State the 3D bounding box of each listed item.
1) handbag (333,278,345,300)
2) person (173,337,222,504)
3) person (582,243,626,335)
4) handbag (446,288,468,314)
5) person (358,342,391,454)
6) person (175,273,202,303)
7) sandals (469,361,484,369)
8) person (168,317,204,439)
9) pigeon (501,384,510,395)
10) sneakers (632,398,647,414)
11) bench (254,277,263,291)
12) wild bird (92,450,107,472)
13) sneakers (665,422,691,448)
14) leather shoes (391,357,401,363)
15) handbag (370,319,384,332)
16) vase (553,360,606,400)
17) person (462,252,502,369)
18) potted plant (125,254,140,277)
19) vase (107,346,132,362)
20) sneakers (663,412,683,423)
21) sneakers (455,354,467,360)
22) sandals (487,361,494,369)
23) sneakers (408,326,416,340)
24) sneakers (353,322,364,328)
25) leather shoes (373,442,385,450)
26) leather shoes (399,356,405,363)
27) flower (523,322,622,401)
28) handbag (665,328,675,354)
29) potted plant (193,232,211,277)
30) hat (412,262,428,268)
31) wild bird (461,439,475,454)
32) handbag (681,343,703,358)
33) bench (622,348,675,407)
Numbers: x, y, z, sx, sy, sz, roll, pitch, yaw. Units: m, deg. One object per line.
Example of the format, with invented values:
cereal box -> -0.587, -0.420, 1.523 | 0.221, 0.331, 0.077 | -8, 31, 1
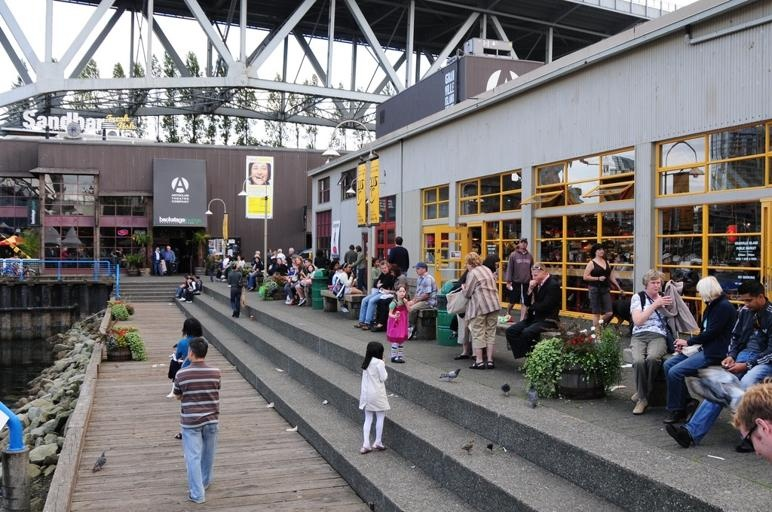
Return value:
handbag -> -1.492, 1.013, 21.667 | 0.190, 0.637, 0.642 | -1, 1, -25
person -> -3.264, 2.845, 11.862 | 0.737, 2.848, 0.509 | -1, 1, -15
person -> 5.130, 0.722, 16.433 | 0.646, 1.973, 1.020 | 0, 1, 33
handbag -> 1.513, 0.969, 14.609 | 0.586, 0.635, 0.345 | 4, 5, 39
person -> -0.228, 2.557, 12.542 | 0.518, 2.060, 0.856 | -1, 1, 0
person -> -9.943, 1.621, 34.574 | 1.189, 1.223, 2.181 | -1, 1, -18
sandals -> 1.870, 2.243, 14.062 | 0.123, 0.115, 0.254 | -2, 4, -45
person -> -4.141, 2.569, 14.387 | 0.661, 2.528, 0.685 | -4, -7, 41
pigeon -> 2.101, 2.365, 12.078 | 0.134, 0.195, 0.267 | -3, -6, 6
sneakers -> 4.318, 2.588, 11.748 | 0.137, 0.189, 0.420 | -6, -6, 32
bench -> -5.834, 1.239, 31.383 | 0.545, 0.666, 0.567 | 2, 4, 3
wild bird -> -5.454, 3.931, 13.052 | 0.125, 0.155, 0.397 | 16, 15, -4
sneakers -> 4.504, 2.736, 10.598 | 0.570, 0.197, 0.220 | 48, -32, -20
leather shoes -> 0.216, 2.218, 14.594 | 0.227, 0.108, 0.080 | -4, -3, 36
handbag -> -0.241, 1.894, 18.522 | 0.183, 0.196, 0.438 | -1, -6, 41
vase -> 3.475, 2.286, 12.587 | 0.600, 0.510, 0.654 | 1, -7, -1
person -> 1.958, 1.137, 14.178 | 0.723, 2.356, 0.429 | 0, 1, 7
potted plant -> -16.241, 0.626, 44.111 | 1.058, 1.389, 1.157 | 1, 3, 16
vase -> -7.971, 2.946, 20.503 | 0.482, 0.394, 0.503 | 1, -4, -6
sneakers -> 4.729, 2.670, 11.366 | 0.380, 0.173, 0.133 | 3, -2, -5
sneakers -> 1.607, 2.194, 14.865 | 0.271, 0.088, 0.099 | 4, -5, -28
sandals -> 2.142, 2.235, 14.121 | 0.122, 0.119, 0.131 | 0, 7, -1
sneakers -> 0.633, 1.940, 17.313 | 0.134, 0.352, 0.122 | 10, -2, -18
sneakers -> -0.790, 1.930, 19.137 | 0.120, 0.162, 0.365 | 1, -8, -13
leather shoes -> -0.130, 3.477, 12.541 | 0.235, 0.108, 0.079 | -1, 2, -29
leather shoes -> 0.327, 2.204, 14.667 | 0.147, 0.156, 0.073 | 0, 1, -10
flower -> 3.380, 1.865, 12.419 | 1.324, 0.987, 1.385 | 1, -5, -6
handbag -> 4.993, 1.495, 12.104 | 0.124, 0.395, 0.269 | -1, -2, 8
potted plant -> -12.376, -0.181, 46.112 | 0.941, 2.753, 3.128 | -1, 1, -15
hat -> 0.952, 0.248, 19.320 | 0.372, 0.186, 0.246 | 3, -3, -19
wild bird -> 1.386, 3.137, 11.281 | 0.299, 0.200, 0.116 | 6, -9, -35
handbag -> 5.092, 1.585, 11.532 | 0.190, 0.091, 0.236 | -11, 4, -16
bench -> 4.601, 2.245, 12.204 | 0.712, 0.820, 1.211 | -1, 1, 23
